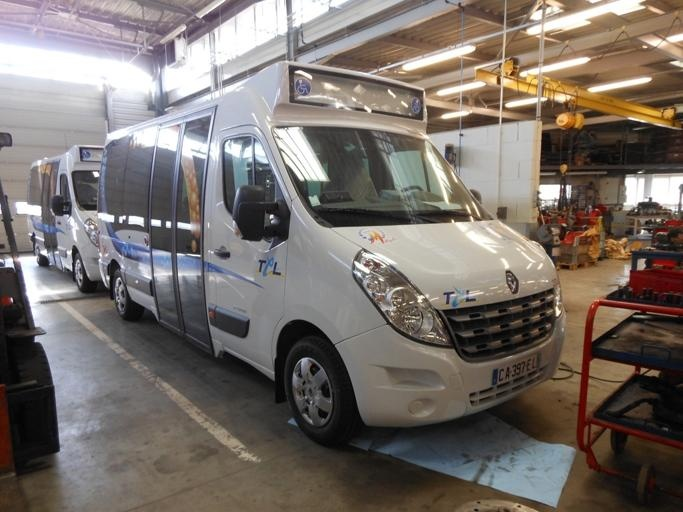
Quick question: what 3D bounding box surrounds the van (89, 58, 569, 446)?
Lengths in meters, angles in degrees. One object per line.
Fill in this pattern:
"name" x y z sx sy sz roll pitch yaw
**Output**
"van" -0.444 -0.381 5.540 2.777 2.720 5.537 -5 9 -39
